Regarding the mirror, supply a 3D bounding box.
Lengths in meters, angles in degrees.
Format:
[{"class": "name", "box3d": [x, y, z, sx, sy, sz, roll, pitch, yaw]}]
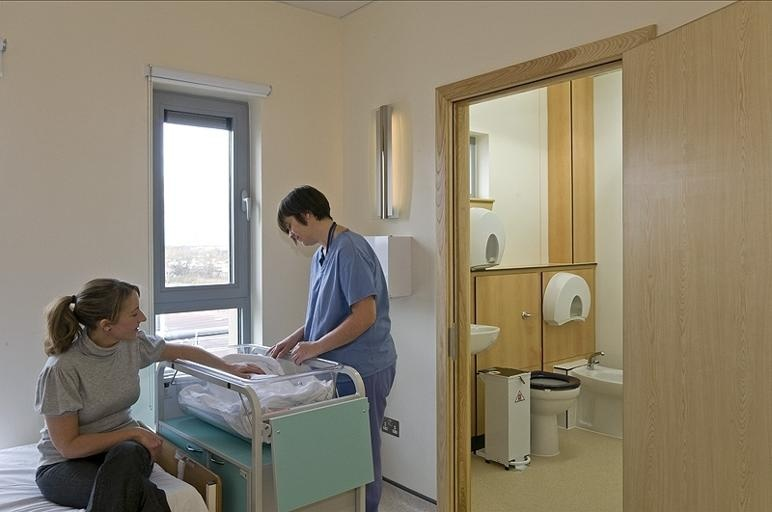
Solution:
[{"class": "mirror", "box3d": [1.084, -0.688, 4.939, 0.740, 1.954, 0.170, 4, -22, 4]}]

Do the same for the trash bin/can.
[{"class": "trash bin/can", "box3d": [0.867, 1.240, 4.426, 0.509, 0.674, 0.423, -1, -4, 30]}]

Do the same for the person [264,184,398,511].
[{"class": "person", "box3d": [-0.257, 0.429, 3.052, 0.599, 1.583, 0.323, -1, 2, 1]}]

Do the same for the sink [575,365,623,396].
[{"class": "sink", "box3d": [1.825, 1.049, 4.893, 0.278, 0.136, 0.379, -2, 2, -35]}]

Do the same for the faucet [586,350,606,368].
[{"class": "faucet", "box3d": [1.870, 0.922, 5.131, 0.139, 0.126, 0.188, 3, -3, -38]}]
